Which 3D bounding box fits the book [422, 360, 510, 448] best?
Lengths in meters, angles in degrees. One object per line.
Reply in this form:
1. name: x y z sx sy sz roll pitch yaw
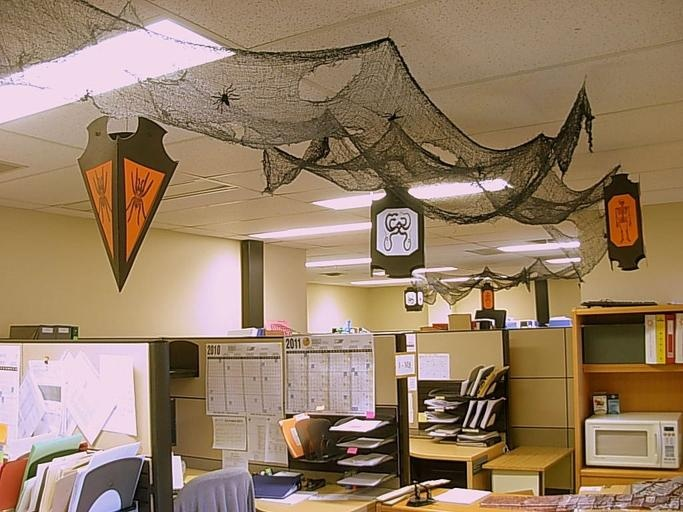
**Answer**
1. book: 1.119 1.358 5.415 0.862 0.275 0.617 -2 -2 33
